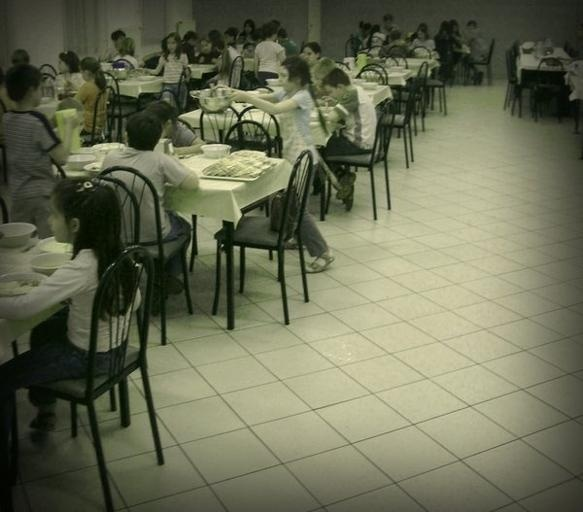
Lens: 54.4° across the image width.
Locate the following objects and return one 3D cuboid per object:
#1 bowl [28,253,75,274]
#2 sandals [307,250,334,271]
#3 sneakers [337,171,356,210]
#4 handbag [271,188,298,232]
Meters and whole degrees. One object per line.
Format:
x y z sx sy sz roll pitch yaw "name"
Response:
-0.905 0.028 2.117 0.129 0.059 0.146 -1 15 -3 "bowl"
0.184 0.045 3.892 0.200 0.081 0.108 -35 16 -21 "sandals"
0.468 -0.573 4.955 0.201 0.294 0.076 -15 22 -16 "sneakers"
-0.037 -0.254 3.221 0.109 0.200 0.204 9 21 9 "handbag"
